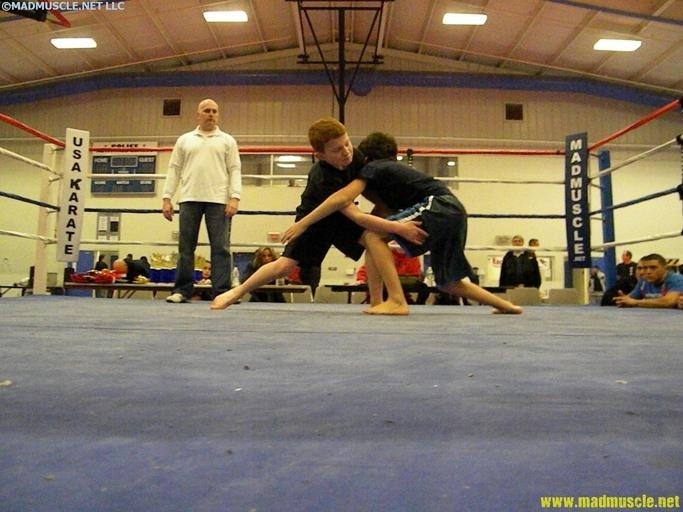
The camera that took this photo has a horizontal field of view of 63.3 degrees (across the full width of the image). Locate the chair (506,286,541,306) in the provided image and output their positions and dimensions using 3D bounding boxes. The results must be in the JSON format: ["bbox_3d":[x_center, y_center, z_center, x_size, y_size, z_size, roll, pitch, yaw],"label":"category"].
[{"bbox_3d":[1.265,0.268,3.825,0.190,0.171,0.176,1,2,6],"label":"chair"}]

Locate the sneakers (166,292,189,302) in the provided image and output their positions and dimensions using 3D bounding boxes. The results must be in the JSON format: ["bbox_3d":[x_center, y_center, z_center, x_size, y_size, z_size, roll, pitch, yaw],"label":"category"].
[{"bbox_3d":[-0.905,0.224,3.054,0.123,0.053,0.250,2,-4,-16],"label":"sneakers"}]

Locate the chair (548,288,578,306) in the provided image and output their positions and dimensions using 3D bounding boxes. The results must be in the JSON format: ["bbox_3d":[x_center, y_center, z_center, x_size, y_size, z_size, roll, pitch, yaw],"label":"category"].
[{"bbox_3d":[1.777,0.335,4.498,0.206,0.182,0.182,-1,-13,9],"label":"chair"}]
